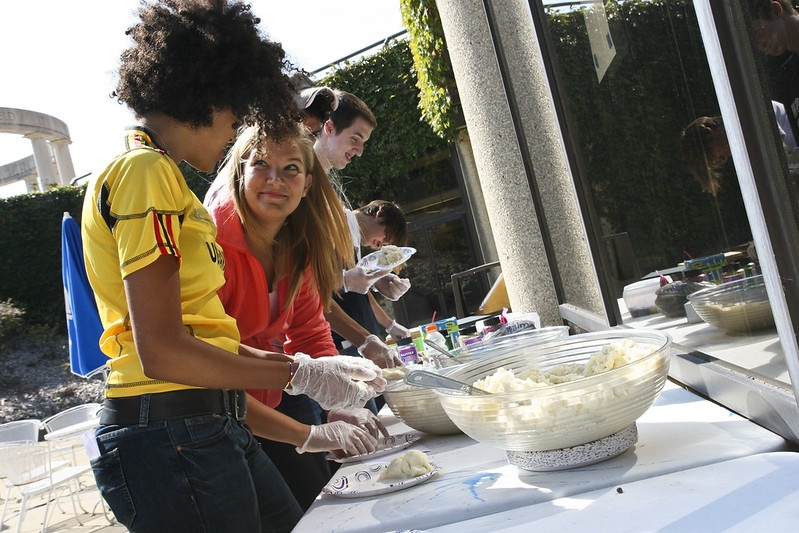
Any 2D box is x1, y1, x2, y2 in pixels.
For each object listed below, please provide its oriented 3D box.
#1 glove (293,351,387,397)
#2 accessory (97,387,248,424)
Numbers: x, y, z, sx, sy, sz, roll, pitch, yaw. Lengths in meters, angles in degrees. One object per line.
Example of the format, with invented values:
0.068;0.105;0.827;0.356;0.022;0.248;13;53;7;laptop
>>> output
-0.236;0.410;2.102;0.327;0.153;0.174;12;3;-24;glove
-0.622;0.391;1.568;0.198;0.051;0.179;-1;-6;-42;accessory
